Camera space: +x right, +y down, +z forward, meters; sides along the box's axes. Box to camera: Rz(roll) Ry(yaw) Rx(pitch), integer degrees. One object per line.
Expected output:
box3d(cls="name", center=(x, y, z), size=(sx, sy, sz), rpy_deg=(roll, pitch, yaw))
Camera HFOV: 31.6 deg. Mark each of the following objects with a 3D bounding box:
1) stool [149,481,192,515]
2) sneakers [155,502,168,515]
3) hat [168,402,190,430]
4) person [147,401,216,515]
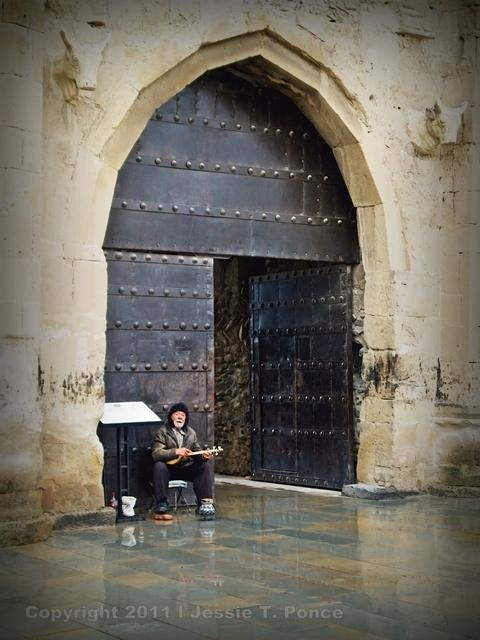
box3d(cls="stool", center=(-0.500, 1.462, 6.907), size=(0.214, 0.304, 0.266), rpy_deg=(13, -22, -27))
box3d(cls="sneakers", center=(-0.596, 1.445, 6.512), size=(0.053, 0.073, 0.167), rpy_deg=(2, -18, -6))
box3d(cls="hat", center=(-0.480, 0.769, 6.841), size=(0.129, 0.222, 0.197), rpy_deg=(4, -15, -13))
box3d(cls="person", center=(-0.447, 1.096, 6.696), size=(0.484, 0.860, 0.810), rpy_deg=(0, -3, -4))
